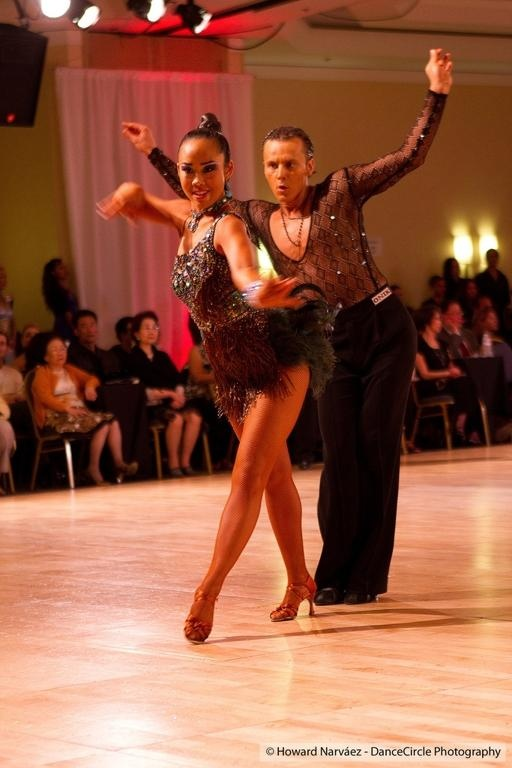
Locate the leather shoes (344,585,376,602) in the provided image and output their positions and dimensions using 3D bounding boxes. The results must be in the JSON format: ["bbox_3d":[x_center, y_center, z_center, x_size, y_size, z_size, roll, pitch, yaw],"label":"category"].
[{"bbox_3d":[0.366,0.750,2.468,0.145,0.049,0.046,3,-5,-16],"label":"leather shoes"}]

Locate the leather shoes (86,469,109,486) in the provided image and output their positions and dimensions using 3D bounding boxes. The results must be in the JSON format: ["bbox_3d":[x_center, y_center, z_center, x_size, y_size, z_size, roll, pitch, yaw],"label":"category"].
[{"bbox_3d":[-1.689,0.991,7.340,0.116,0.116,0.317,14,0,-41],"label":"leather shoes"}]

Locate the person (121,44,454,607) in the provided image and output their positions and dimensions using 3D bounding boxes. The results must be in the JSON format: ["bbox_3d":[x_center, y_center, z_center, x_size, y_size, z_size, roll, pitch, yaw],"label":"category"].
[{"bbox_3d":[0.219,-0.175,2.532,1.484,1.919,0.685,-8,-9,38],"label":"person"}]

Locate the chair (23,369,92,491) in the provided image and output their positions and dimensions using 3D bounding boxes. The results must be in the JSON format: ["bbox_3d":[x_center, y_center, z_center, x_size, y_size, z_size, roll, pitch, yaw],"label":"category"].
[{"bbox_3d":[-2.023,0.506,7.302,0.629,1.137,0.709,-1,-6,3],"label":"chair"}]

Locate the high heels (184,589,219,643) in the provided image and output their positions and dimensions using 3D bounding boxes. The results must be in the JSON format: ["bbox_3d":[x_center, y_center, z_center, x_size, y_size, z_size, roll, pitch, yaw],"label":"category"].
[{"bbox_3d":[-0.160,0.668,1.953,0.071,0.171,0.076,18,-20,-5],"label":"high heels"}]

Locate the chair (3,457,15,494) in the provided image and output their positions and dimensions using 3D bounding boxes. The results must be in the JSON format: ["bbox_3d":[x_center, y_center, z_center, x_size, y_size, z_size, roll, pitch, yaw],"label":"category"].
[{"bbox_3d":[-2.491,0.947,6.928,0.155,0.323,0.254,1,-8,-18],"label":"chair"}]

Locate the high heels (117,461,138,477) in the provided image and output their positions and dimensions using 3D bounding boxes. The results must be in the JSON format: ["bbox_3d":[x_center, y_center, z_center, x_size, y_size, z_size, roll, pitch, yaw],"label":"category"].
[{"bbox_3d":[-1.358,0.903,7.284,0.254,0.099,0.173,-5,-7,-14],"label":"high heels"}]

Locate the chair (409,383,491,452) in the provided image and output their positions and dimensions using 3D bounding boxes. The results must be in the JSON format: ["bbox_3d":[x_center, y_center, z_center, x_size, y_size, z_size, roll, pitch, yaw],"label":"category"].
[{"bbox_3d":[2.472,0.296,8.998,1.053,1.084,0.969,-5,0,0],"label":"chair"}]

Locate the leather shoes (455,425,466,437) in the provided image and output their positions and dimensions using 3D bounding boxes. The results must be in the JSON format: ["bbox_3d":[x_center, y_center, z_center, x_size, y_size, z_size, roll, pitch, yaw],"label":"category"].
[{"bbox_3d":[2.737,0.640,9.244,0.039,0.134,0.102,-10,3,-3],"label":"leather shoes"}]

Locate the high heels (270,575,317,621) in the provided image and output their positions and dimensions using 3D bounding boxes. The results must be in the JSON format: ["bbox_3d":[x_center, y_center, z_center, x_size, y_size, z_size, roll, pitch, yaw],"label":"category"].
[{"bbox_3d":[0.126,0.712,2.266,0.208,0.151,0.087,5,-10,-31],"label":"high heels"}]

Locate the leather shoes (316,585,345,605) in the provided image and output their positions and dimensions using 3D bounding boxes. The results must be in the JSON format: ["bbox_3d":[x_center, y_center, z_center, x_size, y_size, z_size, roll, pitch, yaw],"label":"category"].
[{"bbox_3d":[0.263,0.761,2.490,0.077,0.054,0.149,-2,-14,9],"label":"leather shoes"}]

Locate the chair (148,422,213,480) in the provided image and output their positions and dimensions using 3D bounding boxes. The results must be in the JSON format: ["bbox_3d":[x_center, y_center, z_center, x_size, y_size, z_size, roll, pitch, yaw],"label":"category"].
[{"bbox_3d":[-0.818,0.726,7.662,0.640,0.653,0.734,-2,-4,-2],"label":"chair"}]
